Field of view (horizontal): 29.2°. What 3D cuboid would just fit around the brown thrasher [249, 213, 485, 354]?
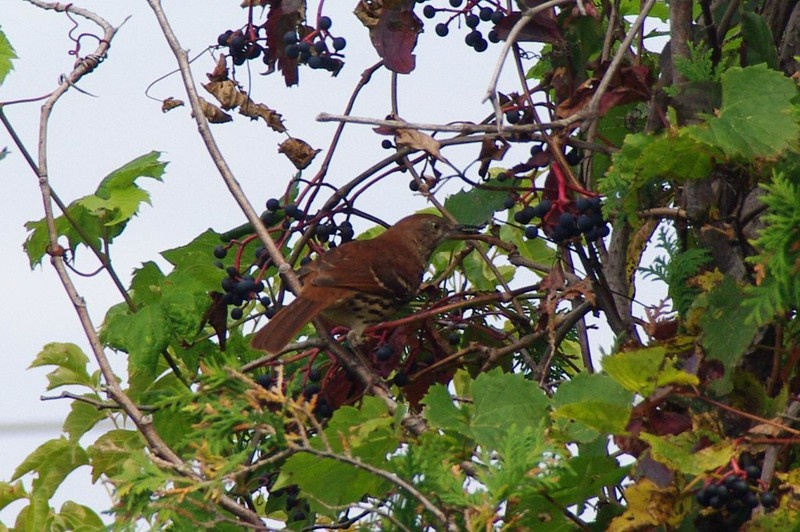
[{"bbox_3d":[-0.133,0.042,5.472,0.849,0.515,0.297,5,-4,-43],"label":"brown thrasher"}]
